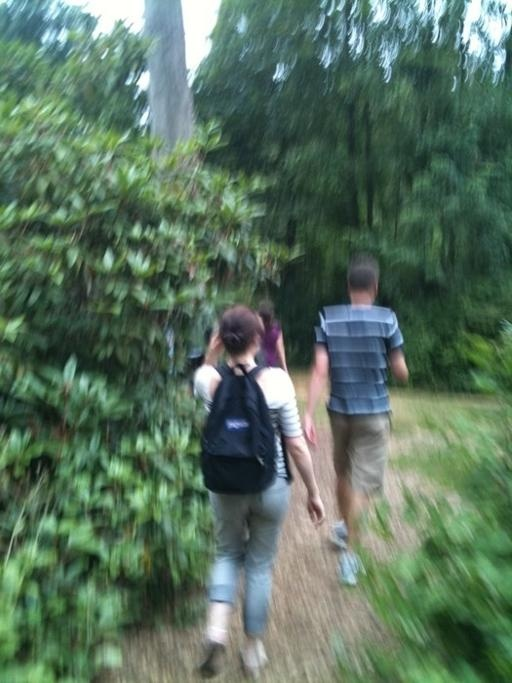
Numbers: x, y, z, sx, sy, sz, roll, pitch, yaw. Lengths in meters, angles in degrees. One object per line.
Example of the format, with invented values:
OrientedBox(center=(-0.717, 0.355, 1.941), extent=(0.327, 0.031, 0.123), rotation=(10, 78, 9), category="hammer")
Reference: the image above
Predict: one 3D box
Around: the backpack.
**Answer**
OrientedBox(center=(-0.072, 0.326, 2.011), extent=(0.300, 0.811, 0.336), rotation=(0, -4, 3), category="backpack")

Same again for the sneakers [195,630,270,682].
OrientedBox(center=(-0.084, 1.277, 2.048), extent=(0.241, 0.260, 0.113), rotation=(7, 5, -10), category="sneakers")
